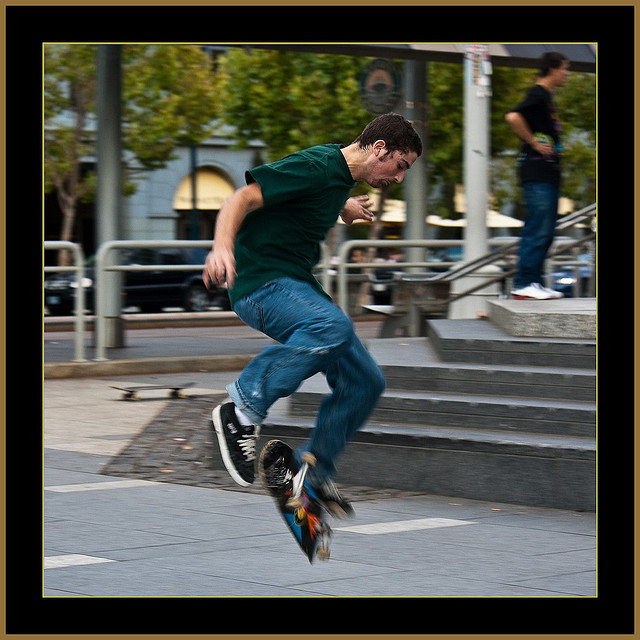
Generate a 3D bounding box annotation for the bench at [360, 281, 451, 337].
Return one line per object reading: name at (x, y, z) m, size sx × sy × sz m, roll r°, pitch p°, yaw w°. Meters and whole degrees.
bench at (1.011, -0.181, 10.662) m, size 0.843 × 0.616 × 0.744 m, roll -2°, pitch 11°, yaw -19°

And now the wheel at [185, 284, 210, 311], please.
wheel at (-1.910, -0.326, 13.926) m, size 0.524 × 0.416 × 0.118 m, roll 0°, pitch -14°, yaw -36°

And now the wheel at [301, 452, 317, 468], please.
wheel at (-0.052, 0.648, 4.147) m, size 0.060 × 0.074 × 0.097 m, roll 4°, pitch 7°, yaw 10°

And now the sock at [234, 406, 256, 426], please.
sock at (-0.337, 0.419, 3.947) m, size 0.047 × 0.116 × 0.039 m, roll -49°, pitch -4°, yaw 32°

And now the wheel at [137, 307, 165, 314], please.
wheel at (-2.571, -0.151, 13.710) m, size 0.396 × 0.080 × 0.804 m, roll 0°, pitch 7°, yaw -12°

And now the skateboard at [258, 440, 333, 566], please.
skateboard at (-0.107, 0.842, 4.110) m, size 0.184 × 0.510 × 0.236 m, roll -27°, pitch -3°, yaw -30°

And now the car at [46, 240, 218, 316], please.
car at (-2.168, -0.612, 12.167) m, size 3.067 × 0.804 × 1.300 m, roll 2°, pitch -4°, yaw -33°
